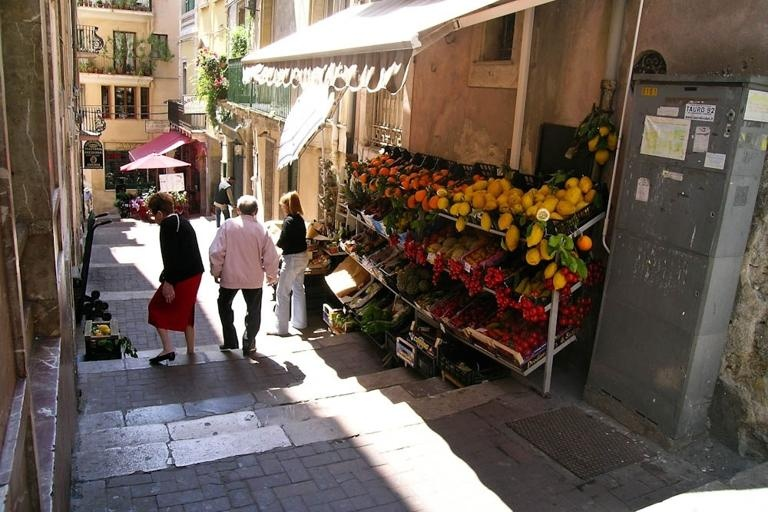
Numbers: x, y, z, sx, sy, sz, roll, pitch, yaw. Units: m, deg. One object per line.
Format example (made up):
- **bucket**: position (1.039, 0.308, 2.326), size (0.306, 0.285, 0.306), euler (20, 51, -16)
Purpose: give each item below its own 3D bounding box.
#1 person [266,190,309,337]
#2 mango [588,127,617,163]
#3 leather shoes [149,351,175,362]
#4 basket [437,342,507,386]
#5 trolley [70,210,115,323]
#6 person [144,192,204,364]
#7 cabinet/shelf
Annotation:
- **person**: position (-1.461, 0.071, 7.766), size (0.695, 2.194, 0.729), euler (-4, 10, -31)
- **mango**: position (2.172, -1.116, 4.894), size (0.155, 0.345, 0.252), euler (3, 21, -20)
- **leather shoes**: position (-2.850, 1.282, 6.304), size (0.309, 0.124, 0.114), euler (0, -1, -28)
- **basket**: position (0.928, 1.235, 5.574), size (0.422, 0.201, 0.586), euler (-4, 17, -21)
- **trolley**: position (-5.213, 0.350, 8.851), size (0.454, 2.014, 0.455), euler (4, 2, 43)
- **person**: position (-2.730, 0.251, 6.189), size (0.761, 2.201, 0.734), euler (5, 9, 24)
- **cabinet/shelf**: position (0.683, -0.154, 6.354), size (1.181, 2.085, 3.932), euler (-15, 26, -30)
